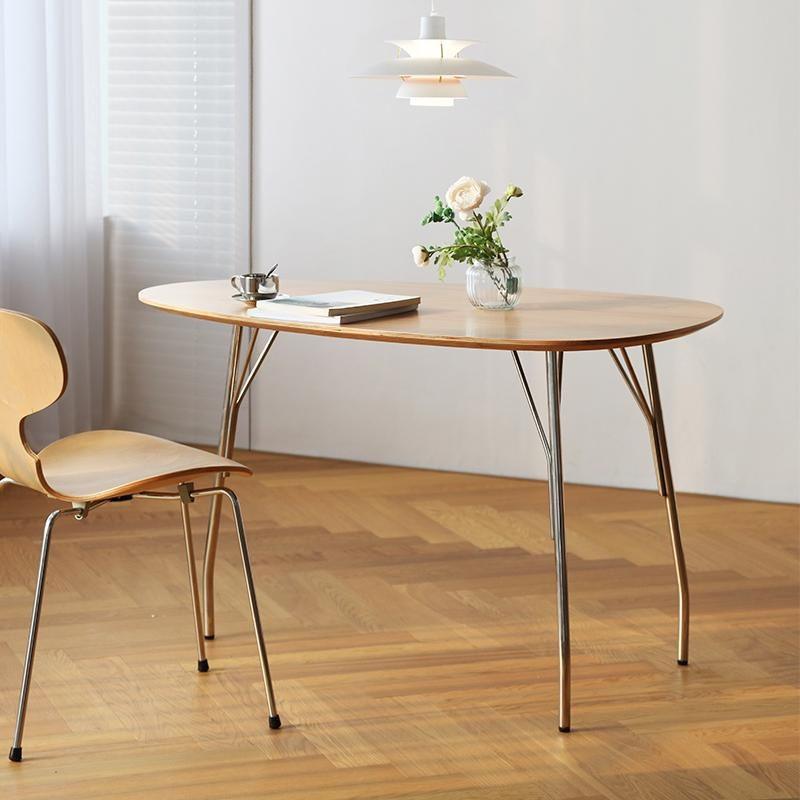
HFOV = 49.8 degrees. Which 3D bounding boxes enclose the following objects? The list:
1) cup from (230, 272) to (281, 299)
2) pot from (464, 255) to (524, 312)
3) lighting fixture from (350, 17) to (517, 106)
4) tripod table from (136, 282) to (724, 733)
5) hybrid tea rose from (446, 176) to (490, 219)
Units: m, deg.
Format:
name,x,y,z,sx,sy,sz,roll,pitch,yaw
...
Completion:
name,x,y,z,sx,sy,sz,roll,pitch,yaw
cup,-0.322,-0.246,1.882,0.109,0.035,0.075,3,8,39
pot,0.193,-0.250,1.792,0.134,0.079,0.113,1,8,7
lighting fixture,0.080,-0.698,1.820,0.361,0.118,0.311,8,10,12
tripod table,0.067,0.131,1.806,1.286,0.577,0.569,4,-1,13
hybrid tea rose,0.137,-0.409,1.754,0.083,0.085,0.115,3,12,12
